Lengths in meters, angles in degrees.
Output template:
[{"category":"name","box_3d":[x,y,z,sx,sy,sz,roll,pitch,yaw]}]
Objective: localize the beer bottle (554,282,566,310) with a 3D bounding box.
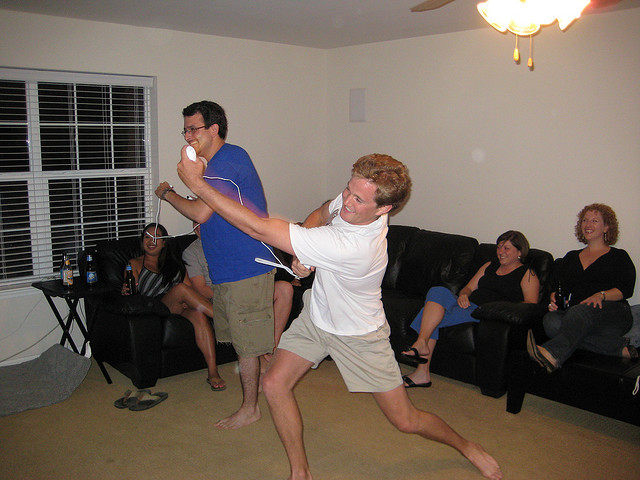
[{"category":"beer bottle","box_3d":[1.930,0.449,3.656,0.087,0.160,0.253,7,12,29]}]

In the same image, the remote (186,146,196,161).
[{"category":"remote","box_3d":[-0.568,-0.379,1.996,0.013,0.058,0.057,-5,5,10]}]

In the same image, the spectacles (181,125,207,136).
[{"category":"spectacles","box_3d":[-0.763,-0.669,2.794,0.098,0.031,0.092,-26,18,-40]}]

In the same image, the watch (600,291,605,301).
[{"category":"watch","box_3d":[2.128,0.423,3.444,0.033,0.053,0.088,7,13,30]}]

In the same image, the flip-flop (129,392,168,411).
[{"category":"flip-flop","box_3d":[-1.270,1.201,3.401,0.221,0.057,0.259,1,11,0]}]

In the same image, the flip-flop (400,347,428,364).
[{"category":"flip-flop","box_3d":[0.722,0.895,3.522,0.247,0.093,0.084,10,-4,-16]}]

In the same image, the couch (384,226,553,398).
[{"category":"couch","box_3d":[1.095,0.577,4.223,1.774,1.143,1.045,7,8,44]}]

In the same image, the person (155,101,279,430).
[{"category":"person","box_3d":[-0.674,0.179,3.025,0.877,2.109,0.679,-2,-1,-16]}]

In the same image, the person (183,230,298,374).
[{"category":"person","box_3d":[-0.559,0.436,3.059,0.606,0.752,1.067,7,10,40]}]

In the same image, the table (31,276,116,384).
[{"category":"table","box_3d":[-2.037,0.774,3.692,0.573,0.856,0.620,-12,-17,-28]}]

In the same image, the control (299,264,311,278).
[{"category":"control","box_3d":[-0.071,0.137,2.038,0.069,0.039,0.048,11,-13,42]}]

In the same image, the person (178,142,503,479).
[{"category":"person","box_3d":[0.091,0.418,2.284,1.438,1.714,0.475,-5,12,-25]}]

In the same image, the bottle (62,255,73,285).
[{"category":"bottle","box_3d":[-2.065,0.255,3.721,0.073,0.233,0.133,-6,13,-30]}]

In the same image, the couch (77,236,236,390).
[{"category":"couch","box_3d":[-1.442,0.577,4.216,1.427,1.081,1.461,7,7,8]}]

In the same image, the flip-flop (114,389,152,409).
[{"category":"flip-flop","box_3d":[-1.424,1.190,3.442,0.092,0.056,0.228,-1,-3,10]}]
